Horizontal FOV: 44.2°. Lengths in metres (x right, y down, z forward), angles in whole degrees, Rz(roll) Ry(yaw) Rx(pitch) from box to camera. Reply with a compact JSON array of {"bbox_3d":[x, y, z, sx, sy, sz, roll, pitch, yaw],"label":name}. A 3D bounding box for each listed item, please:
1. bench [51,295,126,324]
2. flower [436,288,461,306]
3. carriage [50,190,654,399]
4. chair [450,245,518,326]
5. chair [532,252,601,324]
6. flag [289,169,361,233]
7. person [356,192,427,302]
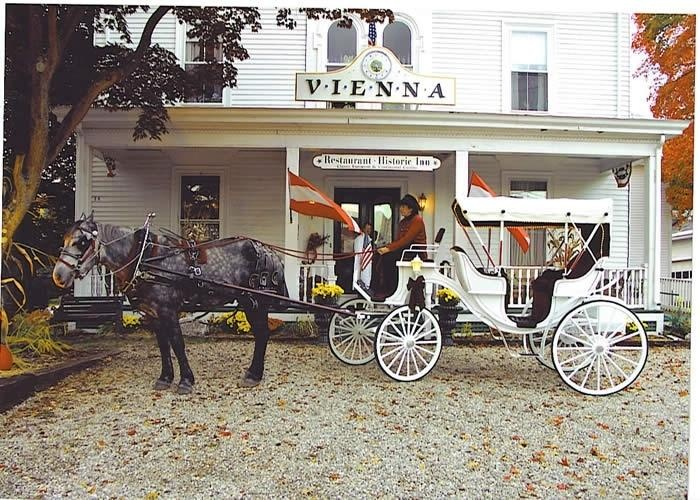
[{"bbox_3d":[-5.703,1.317,18.879,1.384,0.659,0.602,1,-2,-10],"label":"bench"},{"bbox_3d":[2.140,1.019,18.831,0.445,0.229,0.460,-11,29,-35],"label":"flower"},{"bbox_3d":[0.338,1.019,18.102,14.239,4.931,4.228,3,-1,-3],"label":"carriage"},{"bbox_3d":[2.512,0.615,16.562,1.004,1.464,1.078,-1,8,-8],"label":"chair"},{"bbox_3d":[4.376,0.714,17.194,1.378,2.028,1.136,9,-2,8],"label":"chair"},{"bbox_3d":[-0.626,-1.045,18.374,1.419,1.384,1.270,0,4,-10],"label":"flag"},{"bbox_3d":[0.950,0.016,17.941,1.284,2.358,1.179,2,5,-12],"label":"person"}]
